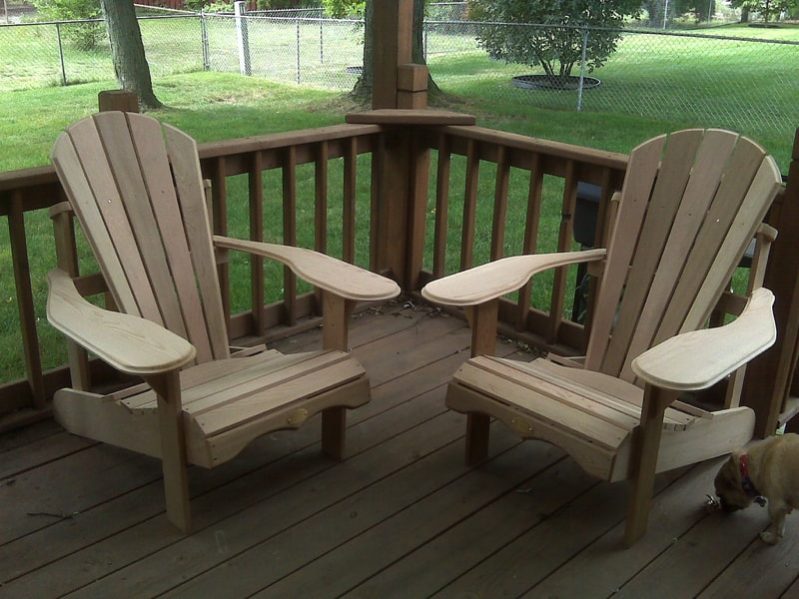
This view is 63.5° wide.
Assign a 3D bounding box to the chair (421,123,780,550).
[{"bbox_3d":[0.724,0.094,2.149,0.915,0.982,1.083,20,29,41],"label":"chair"}]

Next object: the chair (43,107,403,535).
[{"bbox_3d":[-0.669,0.046,2.114,1.114,0.960,0.971,20,26,30],"label":"chair"}]
